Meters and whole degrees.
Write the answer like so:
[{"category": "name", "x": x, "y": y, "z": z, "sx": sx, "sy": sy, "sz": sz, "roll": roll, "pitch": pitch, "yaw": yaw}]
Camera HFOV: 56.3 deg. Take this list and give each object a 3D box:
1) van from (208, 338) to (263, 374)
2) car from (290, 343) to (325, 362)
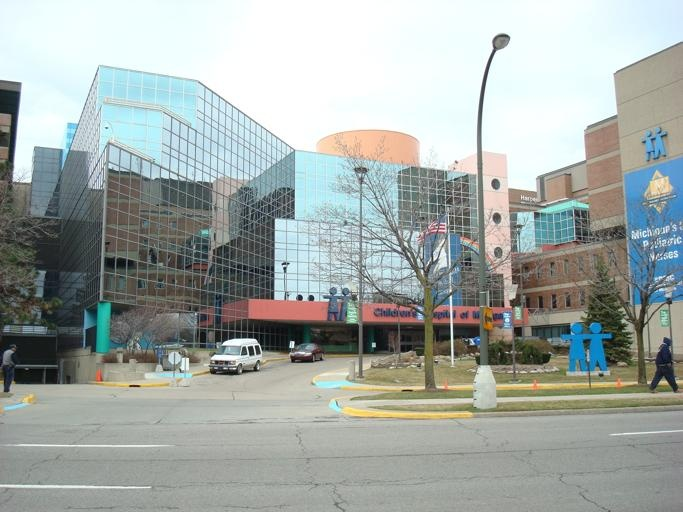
[{"category": "van", "x": -6.872, "y": 6.484, "z": 41.146, "sx": 1.865, "sy": 1.590, "sz": 3.285, "roll": -4, "pitch": -12, "yaw": 16}, {"category": "car", "x": -2.867, "y": 7.735, "z": 50.828, "sx": 1.727, "sy": 1.547, "sz": 2.944, "roll": -6, "pitch": -13, "yaw": 18}]
